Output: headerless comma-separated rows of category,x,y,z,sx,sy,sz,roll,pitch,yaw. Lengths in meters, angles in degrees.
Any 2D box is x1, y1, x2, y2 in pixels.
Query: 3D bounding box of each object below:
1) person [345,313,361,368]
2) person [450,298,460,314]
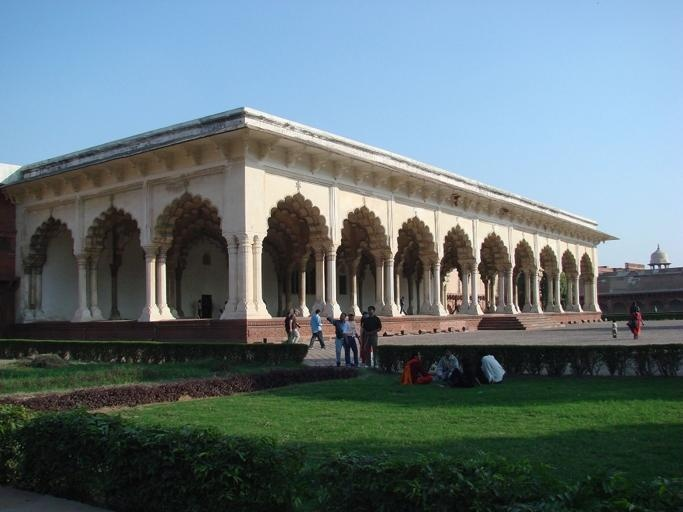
person,0.176,1.445,12.590,0.251,0.935,0.613,-2,-10,0
person,5.521,2.429,35.244,0.198,0.798,0.862,-6,2,29
